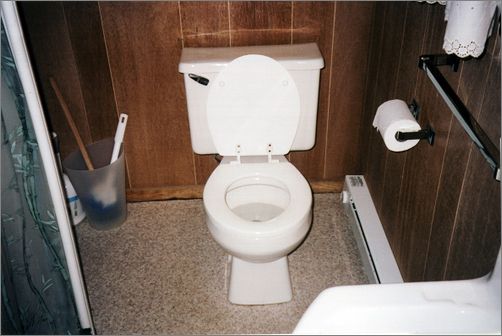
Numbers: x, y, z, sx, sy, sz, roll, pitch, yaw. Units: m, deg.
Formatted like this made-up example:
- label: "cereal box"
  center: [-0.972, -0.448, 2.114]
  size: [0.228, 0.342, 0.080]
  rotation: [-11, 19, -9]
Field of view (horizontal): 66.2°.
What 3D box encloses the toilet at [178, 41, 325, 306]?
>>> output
- label: "toilet"
  center: [0.068, 0.036, 2.017]
  size: [0.738, 1.162, 1.024]
  rotation: [-5, 30, -7]
